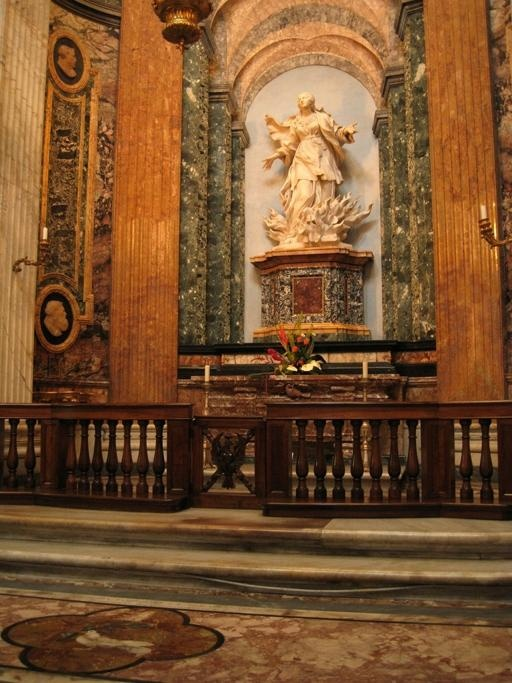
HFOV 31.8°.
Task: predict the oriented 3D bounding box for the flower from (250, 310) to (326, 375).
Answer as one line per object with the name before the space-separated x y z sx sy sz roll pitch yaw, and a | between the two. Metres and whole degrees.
flower | 0.379 0.024 7.881 0.558 0.563 0.517 0 -1 -17

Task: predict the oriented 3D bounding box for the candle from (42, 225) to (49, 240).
candle | -1.576 -0.801 6.682 0.023 0.097 0.131 0 -6 -20

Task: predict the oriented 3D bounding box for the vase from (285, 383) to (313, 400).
vase | 0.307 0.412 7.126 0.254 0.096 0.162 15 8 12

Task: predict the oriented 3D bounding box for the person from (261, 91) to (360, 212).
person | 0.750 -2.247 10.978 0.973 1.510 0.741 -3 -6 8
